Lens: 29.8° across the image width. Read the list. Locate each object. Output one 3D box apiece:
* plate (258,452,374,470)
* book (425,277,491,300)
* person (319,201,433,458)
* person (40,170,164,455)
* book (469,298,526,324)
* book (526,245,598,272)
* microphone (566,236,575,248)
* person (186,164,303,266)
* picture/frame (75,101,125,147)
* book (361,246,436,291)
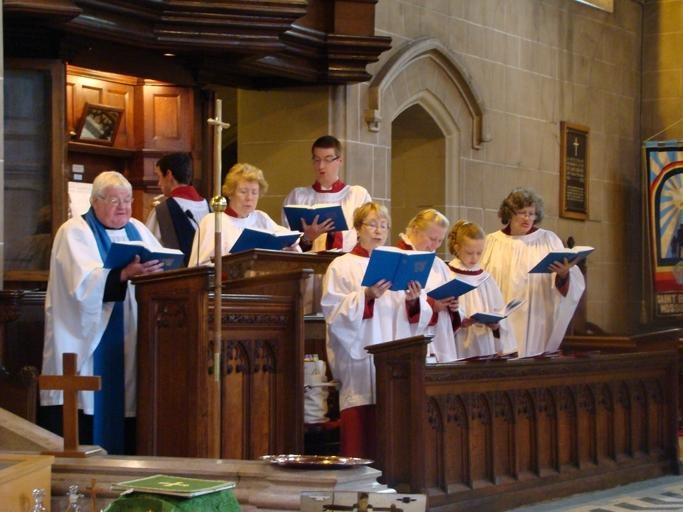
[{"bbox_3d":[-0.161,1.279,7.930,0.697,0.081,0.284,-3,-8,20],"label":"plate"},{"bbox_3d":[0.829,0.272,9.803,0.212,0.080,0.224,3,-22,-45],"label":"book"},{"bbox_3d":[0.228,0.562,9.720,0.746,1.918,0.440,-1,-7,3],"label":"person"},{"bbox_3d":[-1.803,0.426,9.483,0.792,2.051,0.762,1,-7,-7],"label":"person"},{"bbox_3d":[1.218,0.490,10.160,0.173,0.211,0.477,-20,24,-35],"label":"book"},{"bbox_3d":[1.808,0.049,10.724,0.522,0.244,0.539,-1,-7,3],"label":"book"},{"bbox_3d":[2.677,-0.137,15.062,0.084,0.239,0.068,0,-6,15],"label":"microphone"},{"bbox_3d":[-0.785,-0.223,10.203,1.023,0.994,0.556,4,-7,-33],"label":"person"},{"bbox_3d":[-2.384,-1.277,12.517,0.423,0.385,0.138,9,-1,-44],"label":"picture/frame"},{"bbox_3d":[0.412,0.103,9.479,0.552,0.283,0.423,2,-8,-17],"label":"book"}]
